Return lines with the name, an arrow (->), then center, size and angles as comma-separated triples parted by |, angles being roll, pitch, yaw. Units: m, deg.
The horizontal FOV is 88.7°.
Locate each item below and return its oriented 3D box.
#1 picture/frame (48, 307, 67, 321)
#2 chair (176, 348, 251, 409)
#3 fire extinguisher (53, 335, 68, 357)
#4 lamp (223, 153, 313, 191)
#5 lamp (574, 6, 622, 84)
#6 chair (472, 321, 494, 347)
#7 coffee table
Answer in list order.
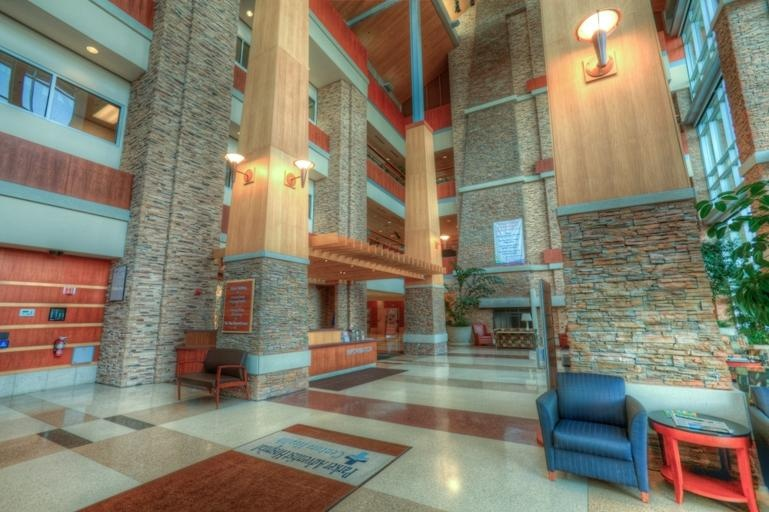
picture/frame -> -8.094, 1.420, 9.718 | 0.133, 0.286, 0.364 | -6, -20, 25
chair -> -3.637, 2.630, 8.522 | 1.264, 1.172, 0.931 | 4, 10, 27
fire extinguisher -> -7.990, 2.230, 9.725 | 0.156, 0.497, 0.316 | 1, 10, 8
lamp -> -2.798, -2.053, 9.491 | 2.222, 0.571, 0.726 | 3, -19, -16
lamp -> 3.837, -3.739, 7.043 | 0.573, 1.157, 0.614 | -3, 10, -14
chair -> 4.656, 3.691, 18.398 | 0.910, 0.847, 0.889 | 1, 9, 10
coffee table -> 4.504, 2.842, 5.737 | 1.545, 0.817, 1.218 | 0, -1, 28
